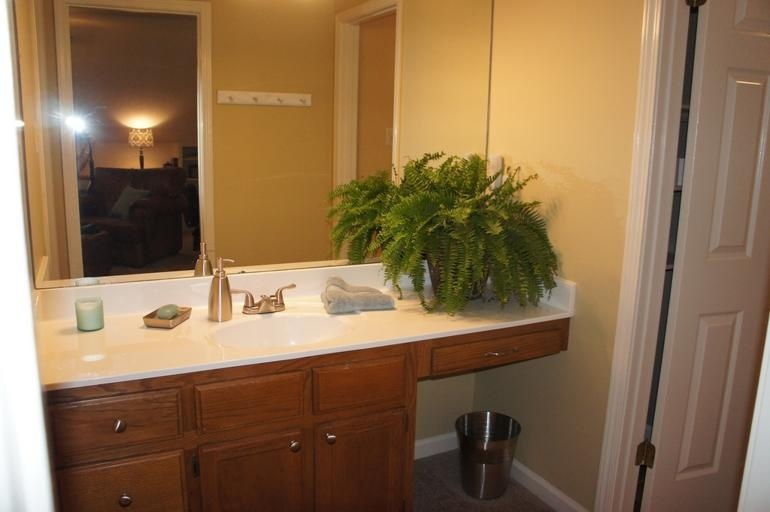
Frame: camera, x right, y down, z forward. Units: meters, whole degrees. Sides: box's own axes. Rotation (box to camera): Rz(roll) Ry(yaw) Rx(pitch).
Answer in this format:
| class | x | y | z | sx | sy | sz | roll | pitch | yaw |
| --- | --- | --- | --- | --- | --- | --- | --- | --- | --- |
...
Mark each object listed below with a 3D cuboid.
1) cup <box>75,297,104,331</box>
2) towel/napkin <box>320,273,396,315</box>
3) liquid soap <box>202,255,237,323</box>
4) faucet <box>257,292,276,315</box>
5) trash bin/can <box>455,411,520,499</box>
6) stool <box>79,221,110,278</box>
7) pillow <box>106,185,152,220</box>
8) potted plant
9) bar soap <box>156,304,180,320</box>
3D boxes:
| class | x | y | z | sx | sy | sz | roll | pitch | yaw |
| --- | --- | --- | --- | --- | --- | --- | --- | --- | --- |
| cup | -1.160 | 0.226 | 2.301 | 0.097 | 0.112 | 0.100 | 1 | 10 | 0 |
| towel/napkin | -0.129 | 0.164 | 2.631 | 0.313 | 0.129 | 0.246 | -5 | 10 | -15 |
| liquid soap | -0.680 | 0.135 | 2.413 | 0.134 | 0.257 | 0.134 | -5 | 13 | -35 |
| faucet | -0.502 | 0.196 | 2.482 | 0.074 | 0.053 | 0.075 | -12 | 18 | -35 |
| trash bin/can | 0.526 | 1.032 | 3.011 | 0.330 | 0.352 | 0.330 | 1 | 8 | 9 |
| stool | -1.182 | -0.039 | 2.370 | 0.193 | 0.187 | 0.104 | 10 | 13 | 38 |
| pillow | -1.052 | -0.223 | 2.396 | 0.131 | 0.126 | 0.039 | 20 | -11 | -13 |
| potted plant | 0.270 | -0.119 | 2.707 | 0.999 | 0.705 | 0.602 | 2 | 10 | 21 |
| bar soap | -0.873 | 0.221 | 2.339 | 0.054 | 0.039 | 0.069 | -1 | 4 | 28 |
